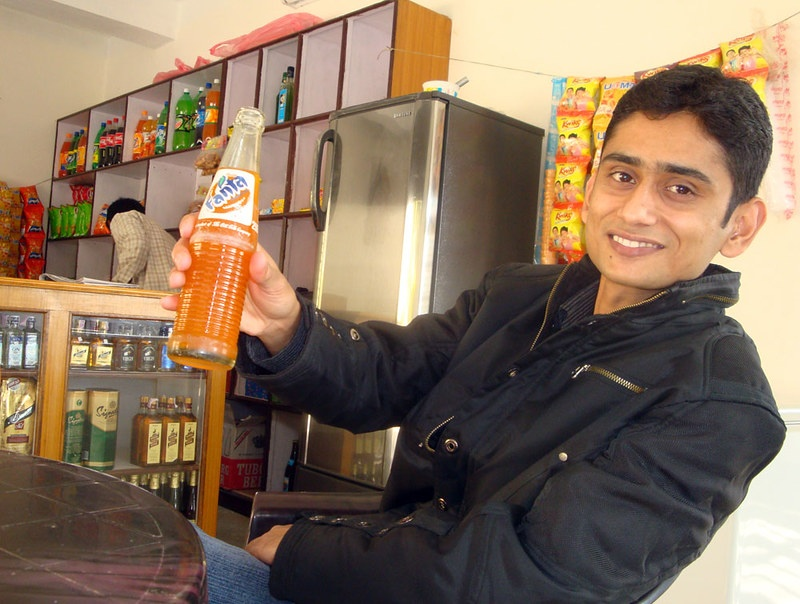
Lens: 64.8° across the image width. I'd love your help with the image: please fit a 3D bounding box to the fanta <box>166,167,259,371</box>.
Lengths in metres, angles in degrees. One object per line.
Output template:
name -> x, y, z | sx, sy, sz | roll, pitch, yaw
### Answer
fanta -> -0.297, -0.096, 1.065 | 0.117, 0.383, 0.116 | 12, -2, -12
